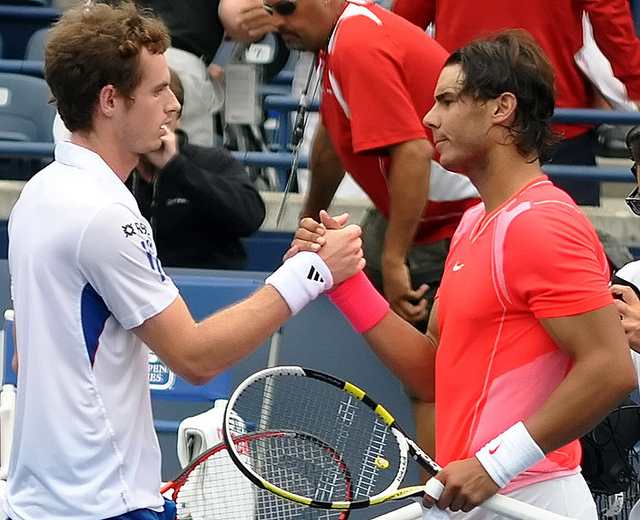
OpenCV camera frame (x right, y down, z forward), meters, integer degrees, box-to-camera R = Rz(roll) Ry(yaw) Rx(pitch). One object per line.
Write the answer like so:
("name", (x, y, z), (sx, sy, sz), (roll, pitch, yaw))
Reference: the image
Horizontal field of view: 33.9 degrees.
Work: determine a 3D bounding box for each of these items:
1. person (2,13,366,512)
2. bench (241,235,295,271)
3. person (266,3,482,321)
("person", (-0.728, -0.105, 4.176), (1.233, 2.480, 1.166), (-3, 7, -27))
("bench", (-0.213, -0.066, 5.116), (0.231, 0.159, 0.129), (-17, 26, -40))
("person", (0.232, -0.388, 4.084), (0.541, 1.722, 0.665), (-16, 27, -7))
